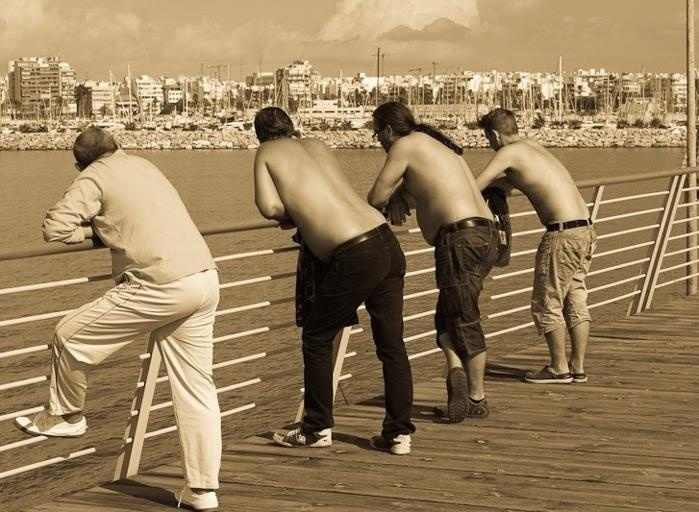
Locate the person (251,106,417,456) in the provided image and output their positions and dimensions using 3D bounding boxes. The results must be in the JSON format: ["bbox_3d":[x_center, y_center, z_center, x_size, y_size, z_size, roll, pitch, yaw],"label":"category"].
[{"bbox_3d":[-0.088,0.159,5.975,0.942,2.028,0.476,0,15,3],"label":"person"}]

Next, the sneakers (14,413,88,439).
[{"bbox_3d":[-1.607,0.907,5.487,0.397,0.171,0.150,8,6,-11],"label":"sneakers"}]

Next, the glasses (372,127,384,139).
[{"bbox_3d":[0.182,-0.765,6.234,0.070,0.068,0.062,0,6,-9],"label":"glasses"}]

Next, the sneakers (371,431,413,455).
[{"bbox_3d":[0.244,1.105,6.080,0.267,0.125,0.106,13,15,41],"label":"sneakers"}]

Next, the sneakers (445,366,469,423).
[{"bbox_3d":[0.664,0.880,6.343,0.135,0.336,0.155,-4,0,2],"label":"sneakers"}]

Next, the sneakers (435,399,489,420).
[{"bbox_3d":[0.710,0.987,6.463,0.351,0.150,0.131,0,-3,-2],"label":"sneakers"}]

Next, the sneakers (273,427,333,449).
[{"bbox_3d":[-0.268,1.091,6.132,0.382,0.151,0.132,2,-1,7],"label":"sneakers"}]

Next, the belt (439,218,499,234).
[{"bbox_3d":[0.748,-0.182,6.178,0.380,0.127,0.096,-6,16,-18],"label":"belt"}]

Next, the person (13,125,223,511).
[{"bbox_3d":[-1.199,0.358,5.475,0.985,2.042,0.637,-3,16,-7],"label":"person"}]

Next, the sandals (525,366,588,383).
[{"bbox_3d":[1.444,0.847,7.041,0.328,0.095,0.167,3,-4,10],"label":"sandals"}]
